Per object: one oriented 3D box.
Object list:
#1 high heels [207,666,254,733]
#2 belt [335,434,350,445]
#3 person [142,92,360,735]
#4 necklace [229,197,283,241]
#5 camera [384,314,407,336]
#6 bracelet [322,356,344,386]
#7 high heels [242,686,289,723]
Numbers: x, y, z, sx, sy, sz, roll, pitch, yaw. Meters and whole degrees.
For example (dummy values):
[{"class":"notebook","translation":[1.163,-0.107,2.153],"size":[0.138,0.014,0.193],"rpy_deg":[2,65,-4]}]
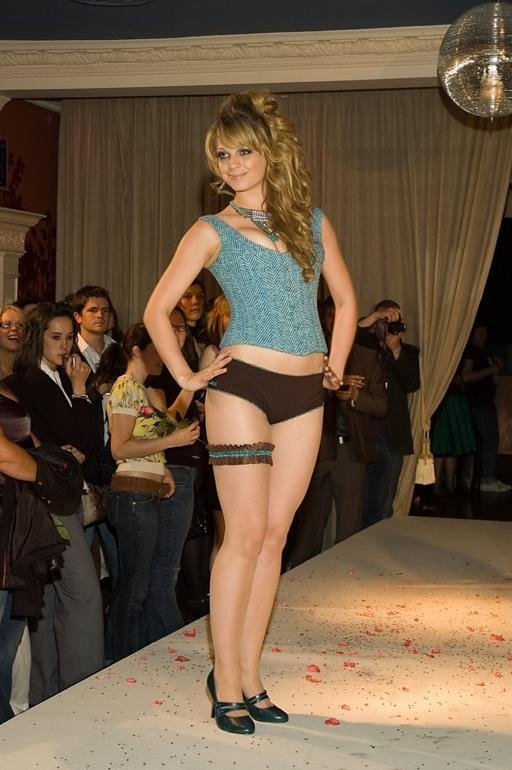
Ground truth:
[{"class":"high heels","translation":[-0.053,0.626,1.252],"size":[0.052,0.096,0.149],"rpy_deg":[13,-9,-35]},{"class":"belt","translation":[0.543,0.336,3.886],"size":[0.065,0.059,0.064],"rpy_deg":[0,-6,6]},{"class":"person","translation":[0.022,0.047,1.287],"size":[0.474,1.278,0.212],"rpy_deg":[6,-9,-36]},{"class":"necklace","translation":[0.012,-0.341,1.264],"size":[0.060,0.015,0.095],"rpy_deg":[-12,50,-38]},{"class":"camera","translation":[0.963,-0.415,4.312],"size":[0.120,0.109,0.114],"rpy_deg":[-3,-5,0]},{"class":"bracelet","translation":[0.169,-0.032,1.424],"size":[0.046,0.057,0.063],"rpy_deg":[-2,0,-1]},{"class":"high heels","translation":[0.015,0.650,1.295],"size":[0.042,0.043,0.113],"rpy_deg":[5,-4,-41]}]
